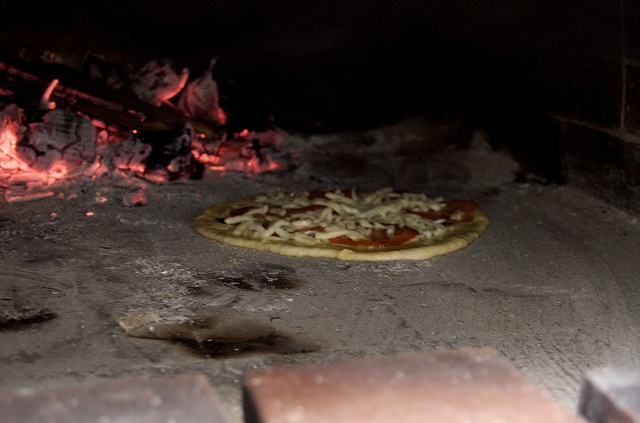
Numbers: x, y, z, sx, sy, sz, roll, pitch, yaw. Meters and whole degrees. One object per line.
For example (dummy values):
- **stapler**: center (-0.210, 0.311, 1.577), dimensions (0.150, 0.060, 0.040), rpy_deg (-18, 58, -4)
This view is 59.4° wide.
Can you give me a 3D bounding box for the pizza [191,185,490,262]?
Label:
- **pizza**: center (0.122, 0.037, 2.840), dimensions (1.454, 0.226, 0.850), rpy_deg (7, 13, 1)
